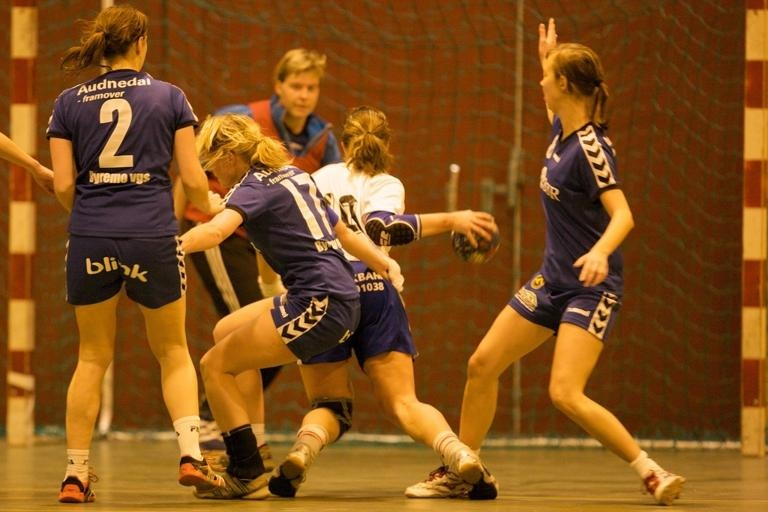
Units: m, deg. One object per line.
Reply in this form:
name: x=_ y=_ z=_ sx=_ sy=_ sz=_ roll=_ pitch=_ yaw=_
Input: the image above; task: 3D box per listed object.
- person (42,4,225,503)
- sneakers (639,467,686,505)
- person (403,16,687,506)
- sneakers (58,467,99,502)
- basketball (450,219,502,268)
person: x=-1.296 y=-0.026 z=5.368 sx=0.829 sy=2.542 sz=0.313 roll=-1 pitch=-1 yaw=-12
sneakers: x=1.454 y=1.192 z=5.439 sx=0.205 sy=0.180 sz=0.113 roll=-1 pitch=-1 yaw=-7
person: x=0.983 y=0.082 z=5.566 sx=1.012 sy=2.421 sz=0.503 roll=-3 pitch=-2 yaw=39
sneakers: x=-1.570 y=1.187 z=5.357 sx=0.105 sy=0.104 sz=0.235 roll=1 pitch=-4 yaw=0
basketball: x=0.478 y=-0.025 z=5.682 sx=0.296 sy=0.192 sz=0.292 roll=-5 pitch=-25 yaw=3
